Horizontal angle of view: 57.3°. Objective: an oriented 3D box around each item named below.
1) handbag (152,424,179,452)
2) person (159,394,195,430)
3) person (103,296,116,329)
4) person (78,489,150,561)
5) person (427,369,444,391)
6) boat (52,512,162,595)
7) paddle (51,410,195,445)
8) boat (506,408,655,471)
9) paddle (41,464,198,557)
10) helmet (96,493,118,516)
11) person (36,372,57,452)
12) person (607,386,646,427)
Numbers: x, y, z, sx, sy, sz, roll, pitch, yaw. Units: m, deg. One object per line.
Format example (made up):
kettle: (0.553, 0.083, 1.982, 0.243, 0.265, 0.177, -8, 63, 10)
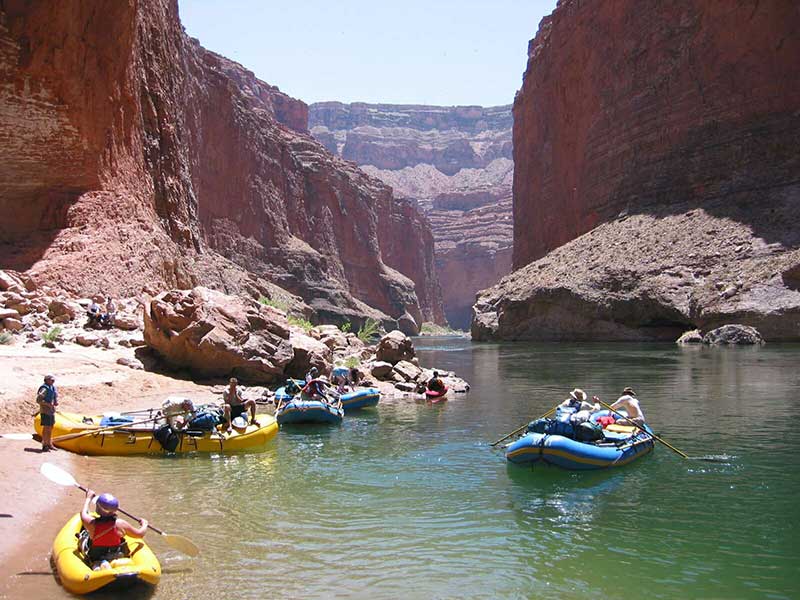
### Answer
handbag: (-6.166, 3.664, 19.418, 0.645, 0.636, 0.384, -3, 14, -19)
person: (-6.108, 3.101, 20.078, 0.411, 0.539, 0.850, -24, -13, -43)
person: (-11.835, 0.481, 29.828, 0.463, 1.166, 0.805, -3, 13, -18)
person: (-5.283, 3.899, 13.230, 0.895, 0.629, 1.444, 9, 17, -20)
person: (1.475, 3.319, 29.603, 0.691, 0.664, 1.169, -1, 12, -10)
boat: (-5.204, 4.581, 12.810, 2.021, 0.872, 1.017, 5, 13, 14)
paddle: (-7.236, 3.287, 19.362, 2.178, 0.388, 1.158, -2, 2, -16)
boat: (4.649, 3.475, 18.734, 3.828, 1.241, 1.762, -4, 14, -27)
paddle: (-5.618, 4.231, 14.600, 3.613, 0.392, 0.177, 26, -3, 6)
helmet: (-5.164, 3.551, 12.889, 0.415, 0.203, 0.311, 26, 19, 21)
person: (-8.764, 2.766, 18.257, 0.418, 1.951, 0.759, -5, 15, -26)
person: (6.444, 2.969, 20.719, 0.870, 1.030, 0.988, 4, 6, 35)
